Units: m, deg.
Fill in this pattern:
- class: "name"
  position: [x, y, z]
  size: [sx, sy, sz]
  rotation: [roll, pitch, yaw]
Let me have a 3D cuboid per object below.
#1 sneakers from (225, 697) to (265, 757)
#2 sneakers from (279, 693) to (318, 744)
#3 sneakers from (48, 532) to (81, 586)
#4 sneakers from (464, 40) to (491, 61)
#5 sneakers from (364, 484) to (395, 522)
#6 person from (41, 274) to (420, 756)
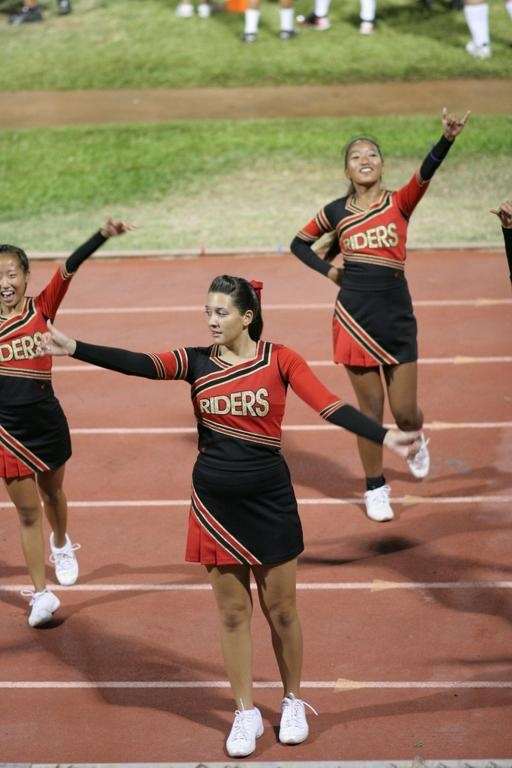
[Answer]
- class: "sneakers"
  position: [-0.042, 1.247, 3.033]
  size: [0.102, 0.101, 0.242]
  rotation: [-1, 13, 12]
- class: "sneakers"
  position: [0.136, 1.241, 3.054]
  size: [0.096, 0.085, 0.232]
  rotation: [0, 23, 2]
- class: "sneakers"
  position: [-0.980, 0.896, 4.302]
  size: [0.162, 0.117, 0.337]
  rotation: [-9, 33, -11]
- class: "sneakers"
  position: [3.139, -4.754, 11.881]
  size: [0.357, 0.250, 0.137]
  rotation: [1, 15, 13]
- class: "sneakers"
  position: [0.689, 0.686, 4.717]
  size: [0.122, 0.093, 0.254]
  rotation: [-7, 13, -2]
- class: "person"
  position: [-0.028, 0.503, 2.930]
  size: [1.099, 1.740, 0.395]
  rotation: [0, 16, 11]
